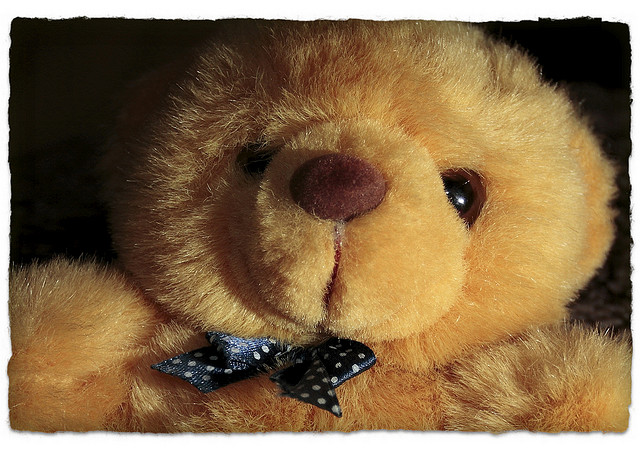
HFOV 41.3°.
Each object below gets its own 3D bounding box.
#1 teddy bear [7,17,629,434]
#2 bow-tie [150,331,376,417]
[{"bbox_3d":[0.002,-0.204,1.429,1.189,0.591,0.653,1,85,1],"label":"teddy bear"},{"bbox_3d":[-0.081,0.189,1.186,0.303,0.060,0.112,9,72,5],"label":"bow-tie"}]
